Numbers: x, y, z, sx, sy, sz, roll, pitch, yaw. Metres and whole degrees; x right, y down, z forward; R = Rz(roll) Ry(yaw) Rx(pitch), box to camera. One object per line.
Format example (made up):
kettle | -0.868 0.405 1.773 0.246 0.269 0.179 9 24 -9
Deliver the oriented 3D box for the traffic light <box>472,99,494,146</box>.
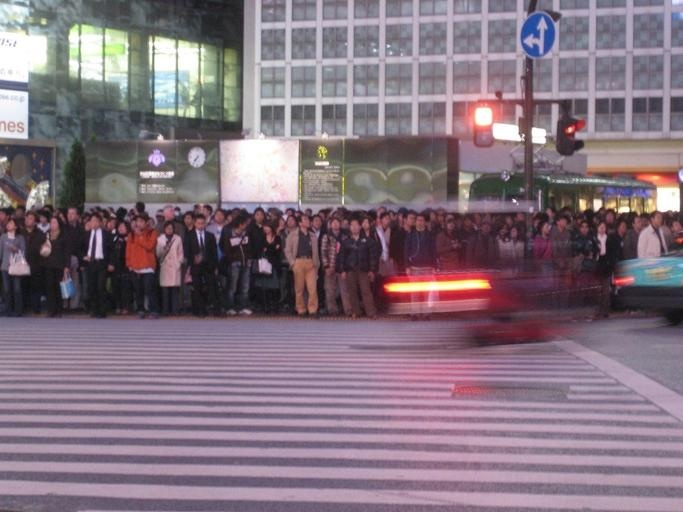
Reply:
traffic light | 3.510 -3.235 20.077 0.445 1.093 0.838 0 4 7

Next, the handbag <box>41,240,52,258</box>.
handbag | -6.663 -0.171 18.584 0.215 0.331 0.109 4 -14 42

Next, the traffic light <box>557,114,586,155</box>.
traffic light | 5.520 -2.925 19.680 0.583 0.951 1.126 1 4 17

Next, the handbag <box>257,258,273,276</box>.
handbag | -1.753 0.218 19.126 0.122 0.370 0.324 -22 -10 17
